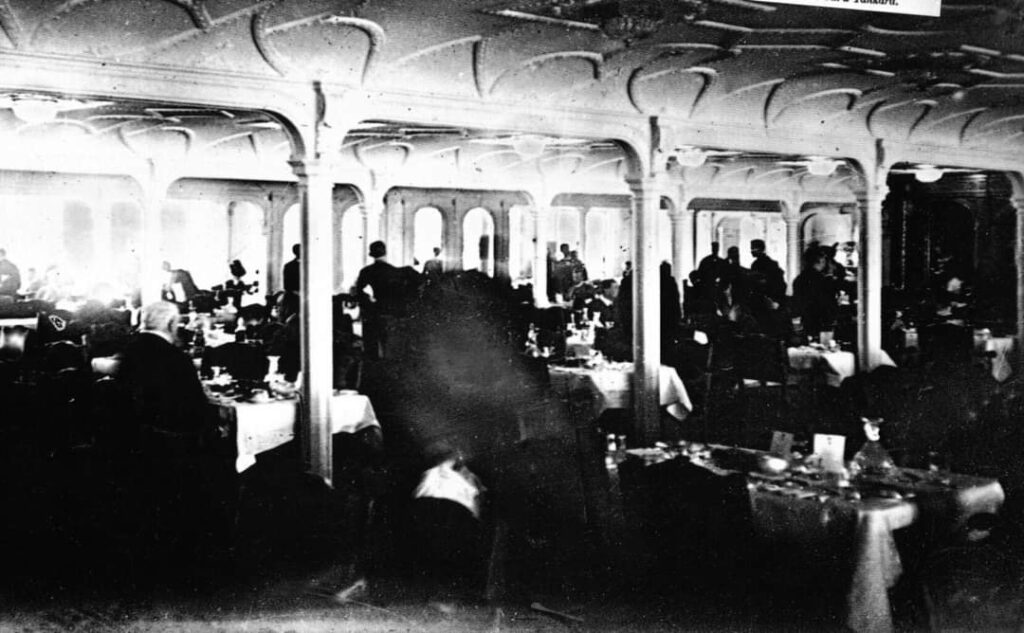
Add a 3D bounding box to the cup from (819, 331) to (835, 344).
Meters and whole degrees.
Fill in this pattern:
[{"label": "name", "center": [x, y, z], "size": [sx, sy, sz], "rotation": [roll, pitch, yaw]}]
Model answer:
[{"label": "cup", "center": [4.398, 0.302, 11.314], "size": [0.194, 0.160, 0.102], "rotation": [3, 6, 31]}]
